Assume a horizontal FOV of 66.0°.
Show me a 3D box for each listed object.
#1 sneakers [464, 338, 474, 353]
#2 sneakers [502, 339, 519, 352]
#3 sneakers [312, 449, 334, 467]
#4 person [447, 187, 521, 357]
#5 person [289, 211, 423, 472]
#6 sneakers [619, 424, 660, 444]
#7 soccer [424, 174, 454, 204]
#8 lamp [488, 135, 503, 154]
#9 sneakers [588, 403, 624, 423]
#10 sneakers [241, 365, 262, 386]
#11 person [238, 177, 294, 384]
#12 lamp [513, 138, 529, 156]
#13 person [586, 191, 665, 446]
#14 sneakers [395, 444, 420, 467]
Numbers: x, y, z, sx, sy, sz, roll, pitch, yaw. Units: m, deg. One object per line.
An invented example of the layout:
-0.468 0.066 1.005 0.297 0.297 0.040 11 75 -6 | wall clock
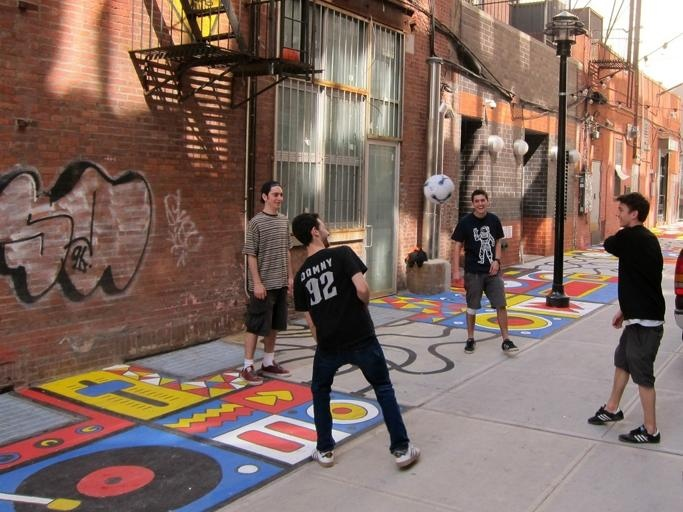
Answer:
1.920 1.347 7.995 0.158 0.182 0.282 2 7 14 | sneakers
2.502 1.367 7.988 0.123 0.130 0.290 -3 0 -27 | sneakers
-0.152 1.786 4.625 0.088 0.090 0.208 0 5 -14 | sneakers
2.153 0.205 8.070 0.947 2.450 0.761 2 6 13 | person
0.064 0.740 4.691 1.099 2.205 0.486 1 6 6 | person
2.817 1.732 5.084 0.356 0.159 0.159 2 -5 9 | sneakers
2.123 -1.511 11.942 0.626 0.646 0.602 -10 -11 -26 | soccer
4.415 -3.315 15.403 0.473 0.505 0.350 -4 8 -35 | lamp
2.709 1.663 5.516 0.393 0.192 0.149 -4 -3 1 | sneakers
-1.116 1.498 6.627 0.338 0.162 0.145 9 11 40 | sneakers
-0.953 0.444 6.801 0.485 2.277 0.835 5 8 37 | person
5.648 -3.553 16.789 0.462 0.637 0.622 0 -24 23 | lamp
2.837 0.572 5.206 0.627 2.389 0.658 3 7 27 | person
0.583 1.738 4.657 0.111 0.145 0.316 3 9 33 | sneakers
